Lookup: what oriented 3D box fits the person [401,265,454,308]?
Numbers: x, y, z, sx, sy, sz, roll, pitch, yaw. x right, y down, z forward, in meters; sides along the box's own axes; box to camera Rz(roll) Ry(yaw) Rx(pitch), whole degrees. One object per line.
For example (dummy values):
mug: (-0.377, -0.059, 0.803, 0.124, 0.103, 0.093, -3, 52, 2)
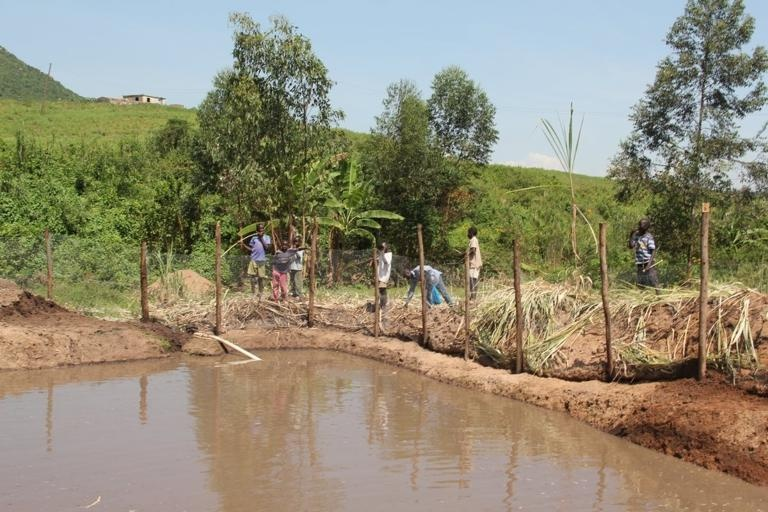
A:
person: (1.246, 0.888, 24.413, 1.537, 1.165, 0.638, -6, -7, -13)
